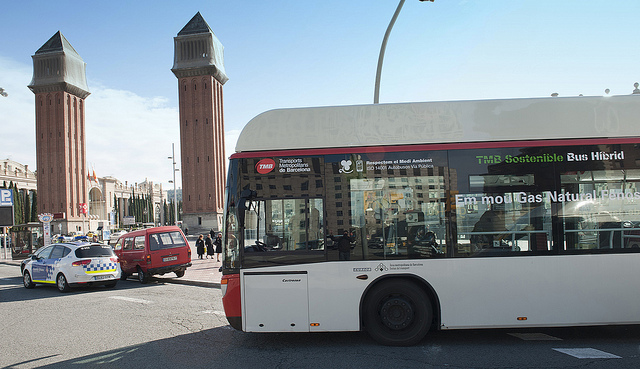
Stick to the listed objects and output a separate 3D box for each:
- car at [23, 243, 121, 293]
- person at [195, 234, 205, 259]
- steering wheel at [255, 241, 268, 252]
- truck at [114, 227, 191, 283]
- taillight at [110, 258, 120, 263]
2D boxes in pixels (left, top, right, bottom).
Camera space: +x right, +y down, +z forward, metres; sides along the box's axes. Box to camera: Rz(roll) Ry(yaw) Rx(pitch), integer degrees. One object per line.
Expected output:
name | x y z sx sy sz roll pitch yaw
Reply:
car | -9.779 3.182 22.763 3.445 1.784 1.457 0 5 18
person | -6.879 3.638 33.451 0.464 1.353 1.275 -2 5 -12
steering wheel | -1.503 1.586 14.870 0.289 0.297 0.244 -5 1 -1
truck | -7.545 2.899 25.536 2.055 1.643 3.217 0 2 -37
taillight | -8.071 3.007 22.904 0.137 0.248 0.424 1 5 22
